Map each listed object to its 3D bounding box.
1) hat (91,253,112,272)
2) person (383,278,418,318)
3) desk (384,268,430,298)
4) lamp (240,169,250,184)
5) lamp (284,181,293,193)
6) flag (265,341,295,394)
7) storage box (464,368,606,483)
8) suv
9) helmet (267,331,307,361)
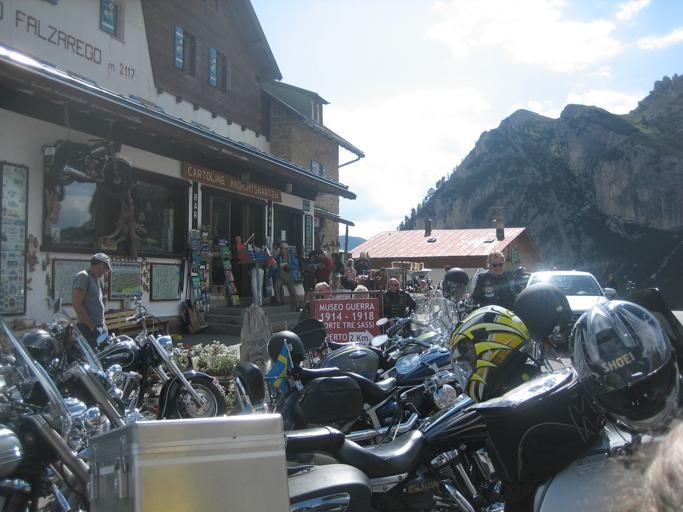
[{"bbox_3d":[-3.397,0.088,8.755,0.191,0.164,0.290,13,-14,28],"label":"hat"},{"bbox_3d":[1.045,0.757,11.356,0.499,0.937,0.266,-3,-17,-10],"label":"person"},{"bbox_3d":[2.069,0.744,19.690,1.102,0.741,1.157,3,6,34],"label":"desk"},{"bbox_3d":[-2.261,-1.919,15.058,0.219,0.366,0.241,3,7,14],"label":"lamp"},{"bbox_3d":[-1.498,-1.925,17.511,0.204,0.237,0.224,1,5,5],"label":"lamp"},{"bbox_3d":[-0.515,0.953,5.287,0.226,0.537,0.023,-2,25,-23],"label":"flag"},{"bbox_3d":[1.132,0.920,3.736,0.616,0.506,0.518,-28,-4,10],"label":"storage box"},{"bbox_3d":[4.765,0.978,13.027,1.765,1.520,3.767,-4,-9,23],"label":"suv"},{"bbox_3d":[-0.474,0.744,5.253,0.263,0.255,0.215,-8,3,-3],"label":"helmet"}]
